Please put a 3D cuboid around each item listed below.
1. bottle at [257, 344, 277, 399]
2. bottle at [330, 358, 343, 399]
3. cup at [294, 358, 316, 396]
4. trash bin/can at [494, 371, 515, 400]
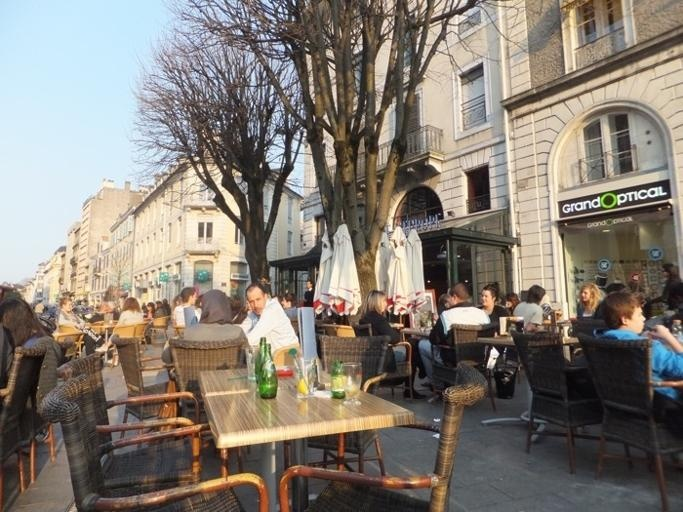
[{"bbox_3d":[-0.660,0.975,4.392,0.150,0.495,0.338,-3,-6,-16],"label":"bottle"},{"bbox_3d":[-0.033,1.041,4.244,0.128,0.313,0.084,-6,-5,14],"label":"bottle"},{"bbox_3d":[-0.329,1.064,4.543,0.180,0.318,0.509,-4,-6,-6],"label":"cup"},{"bbox_3d":[2.738,2.144,8.446,0.375,0.477,0.393,0,-5,-7],"label":"trash bin/can"}]
